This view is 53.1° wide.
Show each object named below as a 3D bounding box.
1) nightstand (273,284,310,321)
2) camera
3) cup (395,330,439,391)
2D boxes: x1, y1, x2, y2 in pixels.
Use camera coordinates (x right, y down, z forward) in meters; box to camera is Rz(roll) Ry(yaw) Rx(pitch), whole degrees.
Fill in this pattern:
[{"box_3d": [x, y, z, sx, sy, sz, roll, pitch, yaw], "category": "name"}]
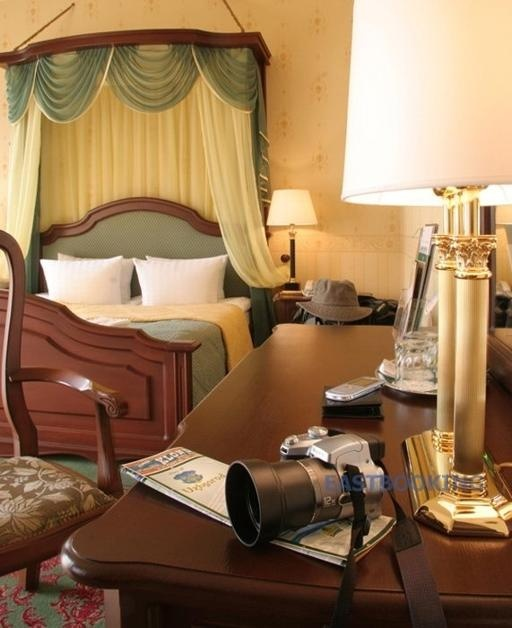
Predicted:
[{"box_3d": [0.245, -0.088, 3.984, 0.361, 0.350, 0.263, 0, 4, 1], "category": "nightstand"}, {"box_3d": [0.053, 0.166, 0.540, 0.148, 0.077, 0.090, -4, 8, -31], "category": "camera"}, {"box_3d": [0.283, 0.095, 0.992, 0.098, 0.097, 0.102, 2, -8, 0], "category": "cup"}]
